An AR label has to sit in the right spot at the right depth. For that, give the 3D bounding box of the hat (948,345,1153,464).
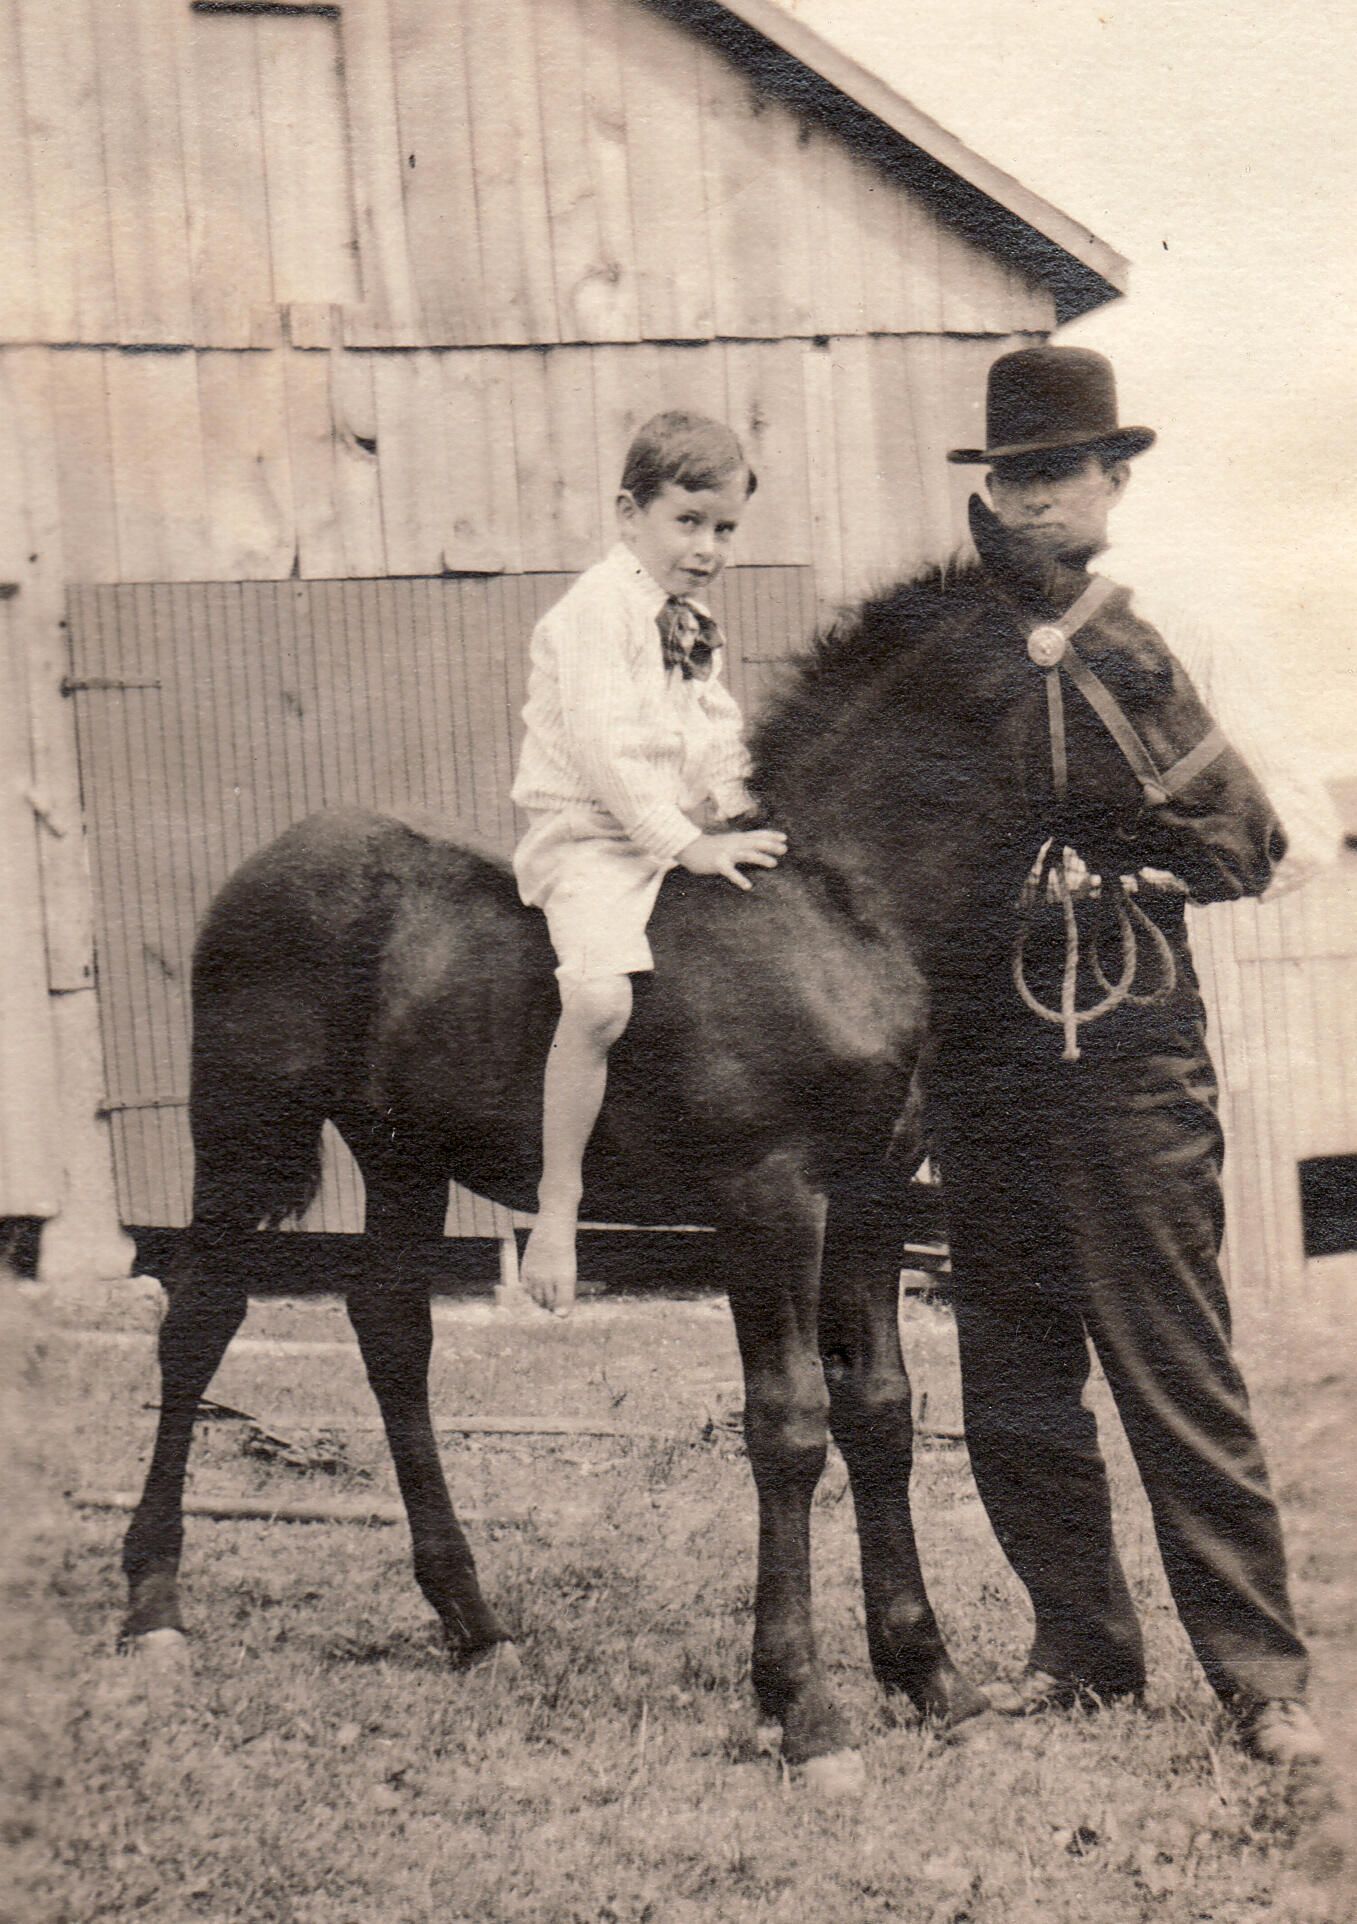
[{"bbox_3d":[0.565,-0.828,3.837,0.233,0.099,0.216,-1,-4,19],"label":"hat"}]

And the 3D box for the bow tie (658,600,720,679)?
[{"bbox_3d":[0.019,-0.457,3.669,0.098,0.103,0.055,-8,0,-36],"label":"bow tie"}]
